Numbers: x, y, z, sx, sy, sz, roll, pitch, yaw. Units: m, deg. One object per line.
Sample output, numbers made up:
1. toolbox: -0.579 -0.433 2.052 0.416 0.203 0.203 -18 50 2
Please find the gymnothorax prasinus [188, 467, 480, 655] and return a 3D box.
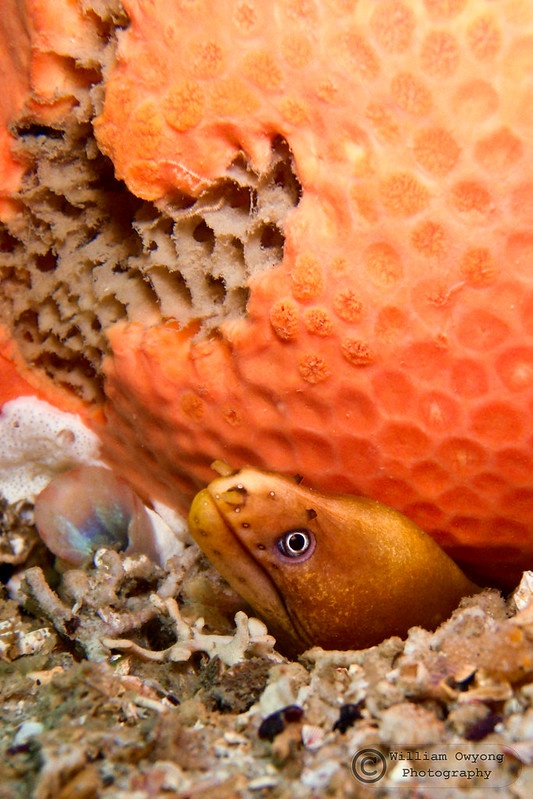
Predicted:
1. gymnothorax prasinus: 0.211 0.302 1.534 0.802 0.284 0.201 14 22 -21
